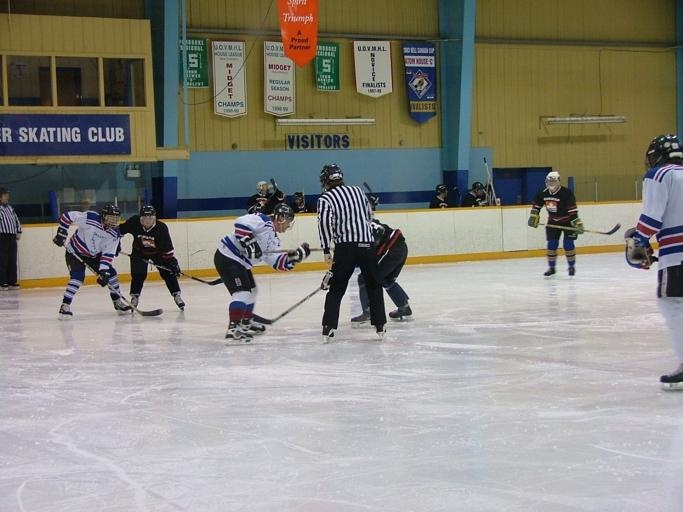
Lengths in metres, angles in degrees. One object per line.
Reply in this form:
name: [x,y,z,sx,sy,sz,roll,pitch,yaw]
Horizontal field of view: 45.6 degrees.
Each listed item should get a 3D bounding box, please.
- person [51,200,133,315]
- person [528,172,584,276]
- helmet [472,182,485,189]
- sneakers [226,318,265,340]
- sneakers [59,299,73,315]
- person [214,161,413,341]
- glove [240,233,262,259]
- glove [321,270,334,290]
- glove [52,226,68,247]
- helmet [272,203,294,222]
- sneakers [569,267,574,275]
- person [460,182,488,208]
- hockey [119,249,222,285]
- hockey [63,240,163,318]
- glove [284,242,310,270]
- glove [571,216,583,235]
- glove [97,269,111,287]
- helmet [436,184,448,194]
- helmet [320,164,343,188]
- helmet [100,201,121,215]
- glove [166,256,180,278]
person: [-2.629,0.058,8.516,0.737,1.163,0.662,-4,8,-15]
person: [2.874,-0.438,10.938,0.699,1.343,0.873,0,8,12]
helmet: [2.321,-1.201,14.057,0.187,0.138,0.258,-4,3,-37]
sneakers: [-0.835,0.615,6.933,0.130,0.174,0.383,4,7,34]
sneakers: [-2.877,0.528,8.419,0.110,0.172,0.296,-4,8,-18]
person: [0.014,-0.058,6.814,1.380,1.374,0.793,-8,10,-43]
glove: [-0.748,-0.072,6.639,0.133,0.199,0.083,-25,20,-10]
glove: [-0.131,0.209,7.150,0.075,0.073,0.179,29,-31,7]
glove: [-2.978,-0.189,8.665,0.146,0.243,0.239,24,-10,-16]
helmet: [-0.475,-0.343,6.761,0.168,0.154,0.151,-11,35,-24]
sneakers: [2.998,0.191,10.631,0.067,0.118,0.086,-4,6,-17]
person: [2.366,-1.082,14.282,0.342,0.390,1.167,1,8,19]
hockey: [-2.246,0.141,10.319,1.084,0.113,0.163,18,54,11]
hockey: [-2.639,0.272,9.241,1.245,0.189,0.173,36,32,19]
glove: [-0.397,-0.040,6.866,0.214,0.085,0.214,-36,-18,1]
glove: [3.097,-0.387,10.689,0.151,0.173,0.198,-5,-22,-1]
glove: [-2.470,0.225,8.385,0.115,0.165,0.058,-1,-6,-18]
helmet: [1.668,-1.098,13.530,0.151,0.134,0.221,-2,7,-1]
helmet: [-0.071,-0.678,6.791,0.196,0.236,0.246,-4,12,-19]
helmet: [-2.379,-0.457,8.287,0.152,0.098,0.226,-4,8,-21]
glove: [-1.915,0.112,9.087,0.082,0.209,0.153,-26,23,-9]
